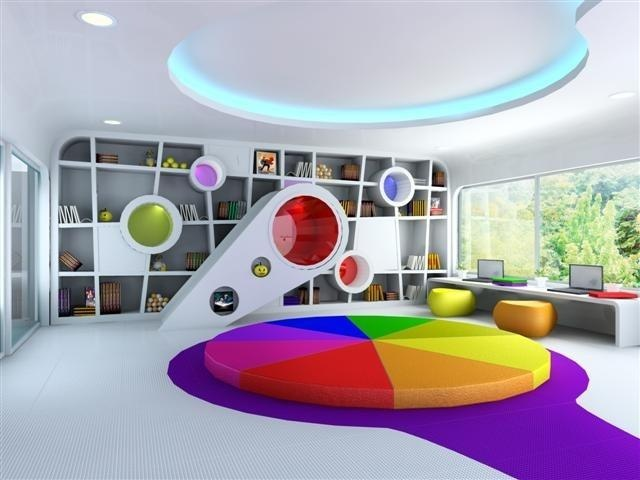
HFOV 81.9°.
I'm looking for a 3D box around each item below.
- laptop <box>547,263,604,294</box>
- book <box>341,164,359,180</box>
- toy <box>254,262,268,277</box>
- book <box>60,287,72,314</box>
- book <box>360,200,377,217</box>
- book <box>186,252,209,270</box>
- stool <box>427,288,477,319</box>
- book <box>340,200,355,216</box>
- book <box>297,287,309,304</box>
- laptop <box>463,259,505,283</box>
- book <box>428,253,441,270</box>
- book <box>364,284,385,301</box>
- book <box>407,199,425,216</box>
[{"bbox_3d":[3.643,0.495,5.132,0.421,0.389,0.573,1,0,-25],"label":"laptop"},{"bbox_3d":[0.578,-1.246,7.028,0.269,0.364,0.377,-1,5,-11],"label":"book"},{"bbox_3d":[-0.876,0.450,5.530,0.268,0.188,0.172,-1,2,-25],"label":"toy"},{"bbox_3d":[-3.939,0.938,5.697,0.148,0.412,0.308,-1,2,-23],"label":"book"},{"bbox_3d":[0.933,-0.589,6.925,0.305,0.282,0.081,1,3,-19],"label":"book"},{"bbox_3d":[-2.070,0.351,6.196,0.347,0.292,0.176,-1,1,-20],"label":"book"},{"bbox_3d":[2.254,1.019,6.398,0.540,0.335,0.573,-5,3,-25],"label":"stool"},{"bbox_3d":[0.517,-0.615,7.051,0.262,0.348,0.360,-1,3,-11],"label":"book"},{"bbox_3d":[-0.341,0.986,6.587,0.228,0.331,0.233,0,0,-15],"label":"book"},{"bbox_3d":[3.036,0.527,6.594,0.401,0.368,0.572,2,0,-27],"label":"laptop"},{"bbox_3d":[2.328,0.423,7.628,0.275,0.366,0.376,0,1,-7],"label":"book"},{"bbox_3d":[1.045,0.997,7.087,0.289,0.383,0.392,1,1,-15],"label":"book"},{"bbox_3d":[1.966,-0.641,7.536,0.279,0.377,0.390,-1,-1,-7],"label":"book"}]
